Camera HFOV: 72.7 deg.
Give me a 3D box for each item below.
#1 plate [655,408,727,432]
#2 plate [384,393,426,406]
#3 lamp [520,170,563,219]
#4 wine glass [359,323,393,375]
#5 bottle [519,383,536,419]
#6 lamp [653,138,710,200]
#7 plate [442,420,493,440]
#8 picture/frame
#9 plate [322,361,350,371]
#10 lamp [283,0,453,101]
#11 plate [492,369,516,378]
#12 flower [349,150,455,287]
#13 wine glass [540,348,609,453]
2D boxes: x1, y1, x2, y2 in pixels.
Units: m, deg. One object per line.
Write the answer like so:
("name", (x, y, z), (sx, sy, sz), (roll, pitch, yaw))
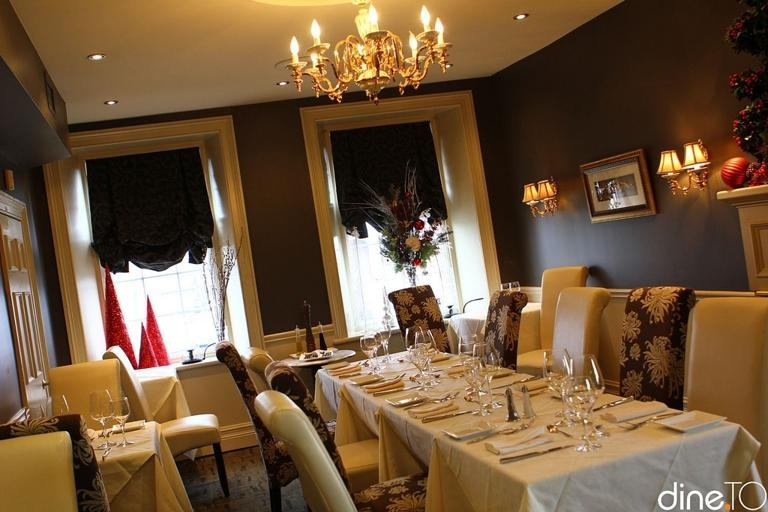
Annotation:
("plate", (1.376, 0.746, 2.330), (0.262, 0.034, 0.144), (-7, 6, -14))
("plate", (0.132, 0.865, 3.087), (0.135, 0.021, 0.096), (-3, -3, -34))
("lamp", (1.813, -0.666, 5.978), (0.437, 0.435, 0.280), (-16, 6, -39))
("wine glass", (-0.047, 0.737, 4.012), (0.229, 0.418, 0.297), (-1, -8, -12))
("bottle", (0.751, 0.740, 2.727), (0.067, 0.173, 0.254), (-3, 6, 14))
("lamp", (2.590, -0.736, 4.424), (0.232, 0.387, 0.433), (-12, 1, -21))
("plate", (0.421, 0.855, 2.521), (0.135, 0.025, 0.098), (-5, -2, -34))
("picture/frame", (2.296, -0.693, 5.086), (0.056, 0.665, 0.735), (-13, 1, -23))
("plate", (-0.409, 0.928, 4.321), (0.149, 0.039, 0.150), (-1, -5, -41))
("lamp", (-0.175, -1.680, 4.183), (0.903, 0.827, 0.918), (4, -14, -33))
("plate", (0.753, 0.756, 3.299), (0.146, 0.033, 0.219), (-3, -4, 11))
("flower", (0.424, -0.212, 6.445), (0.887, 1.491, 0.773), (-7, 19, -28))
("wine glass", (0.868, 0.635, 2.397), (0.242, 0.393, 0.373), (-3, 6, 17))
